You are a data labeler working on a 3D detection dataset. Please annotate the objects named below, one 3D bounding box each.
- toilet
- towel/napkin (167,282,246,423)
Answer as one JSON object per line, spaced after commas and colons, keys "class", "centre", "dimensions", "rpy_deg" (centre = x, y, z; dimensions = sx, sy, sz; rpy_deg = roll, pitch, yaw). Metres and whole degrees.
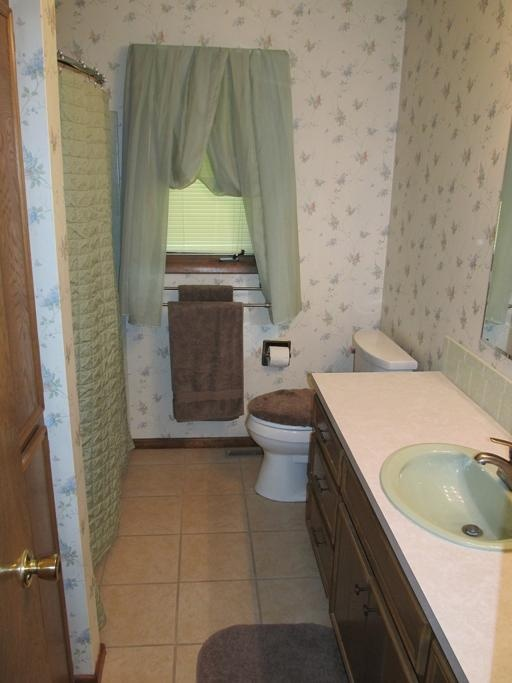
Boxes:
{"class": "toilet", "centre": [0.316, 0.308, 2.679], "dimensions": [0.717, 0.942, 0.641], "rpy_deg": [0, 20, -2]}
{"class": "towel/napkin", "centre": [-0.267, 0.046, 2.746], "dimensions": [0.553, 1.007, 0.090], "rpy_deg": [0, 20, 2]}
